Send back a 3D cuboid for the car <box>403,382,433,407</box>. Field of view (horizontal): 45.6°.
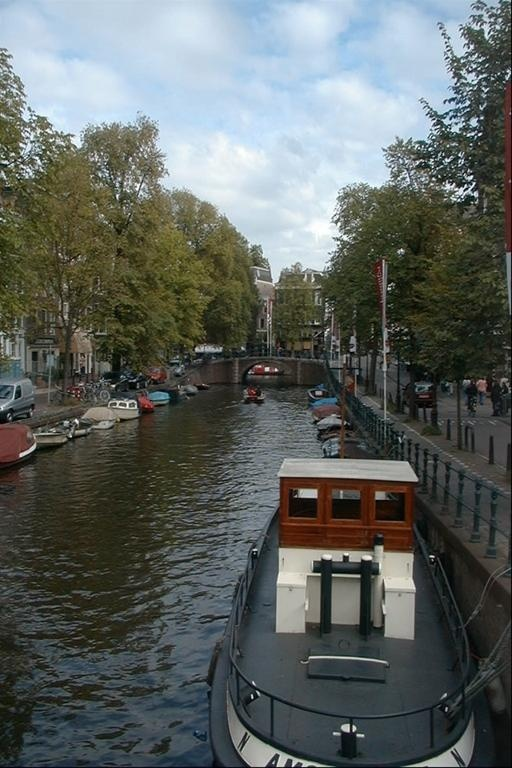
[{"bbox_3d":[11.611,0.922,42.915,1.752,1.487,3.057,1,12,9],"label":"car"}]

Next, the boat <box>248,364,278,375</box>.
[{"bbox_3d":[1.257,-2.660,112.638,4.295,1.925,6.395,-2,2,-24],"label":"boat"}]
